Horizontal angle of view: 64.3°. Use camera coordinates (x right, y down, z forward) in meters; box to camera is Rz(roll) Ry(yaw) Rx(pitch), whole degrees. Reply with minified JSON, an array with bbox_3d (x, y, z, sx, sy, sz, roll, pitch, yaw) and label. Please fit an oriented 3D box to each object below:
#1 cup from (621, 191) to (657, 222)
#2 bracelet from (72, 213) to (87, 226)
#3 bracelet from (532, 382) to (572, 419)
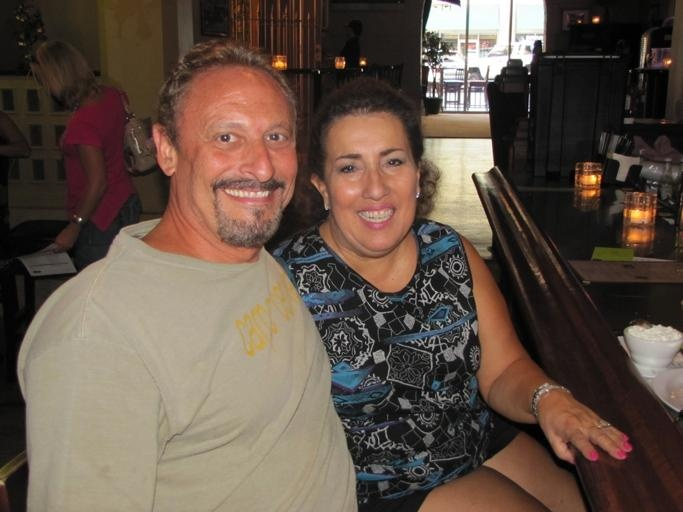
[{"bbox_3d":[1.519,-0.259,2.785,0.160,0.152,0.153,0,8,0],"label":"cup"},{"bbox_3d":[-1.526,-0.208,3.204,0.066,0.071,0.069,29,5,18],"label":"bracelet"},{"bbox_3d":[0.550,0.366,1.456,0.105,0.100,0.043,5,13,-27],"label":"bracelet"}]
